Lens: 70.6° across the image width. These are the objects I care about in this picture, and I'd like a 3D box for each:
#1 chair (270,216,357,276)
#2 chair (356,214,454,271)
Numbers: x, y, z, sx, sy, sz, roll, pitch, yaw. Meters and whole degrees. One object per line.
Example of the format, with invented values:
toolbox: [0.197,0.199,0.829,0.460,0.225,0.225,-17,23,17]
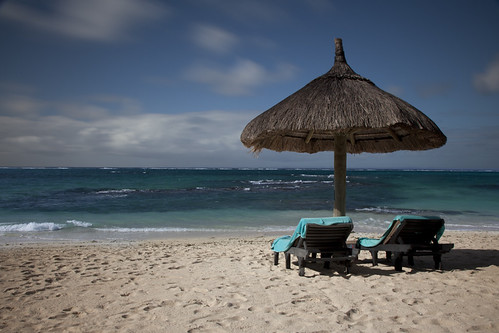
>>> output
chair: [1.346,1.776,8.043,1.447,0.780,1.887,3,-15,-15]
chair: [3.336,1.644,8.135,1.509,0.747,1.981,3,-6,-17]
